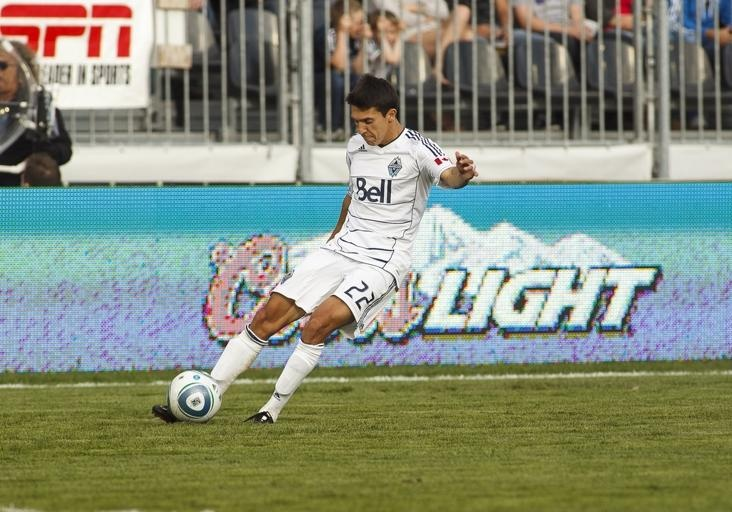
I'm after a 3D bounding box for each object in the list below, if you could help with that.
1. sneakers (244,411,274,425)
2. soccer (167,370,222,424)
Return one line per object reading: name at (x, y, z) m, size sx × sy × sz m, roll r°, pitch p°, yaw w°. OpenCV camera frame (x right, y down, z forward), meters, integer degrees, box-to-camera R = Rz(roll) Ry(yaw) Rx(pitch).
sneakers at (-0.826, 1.234, 12.594) m, size 0.251 × 0.118 × 0.090 m, roll 7°, pitch -7°, yaw 3°
soccer at (-1.353, 1.066, 12.523) m, size 0.296 × 0.375 × 0.392 m, roll -2°, pitch 1°, yaw -4°
